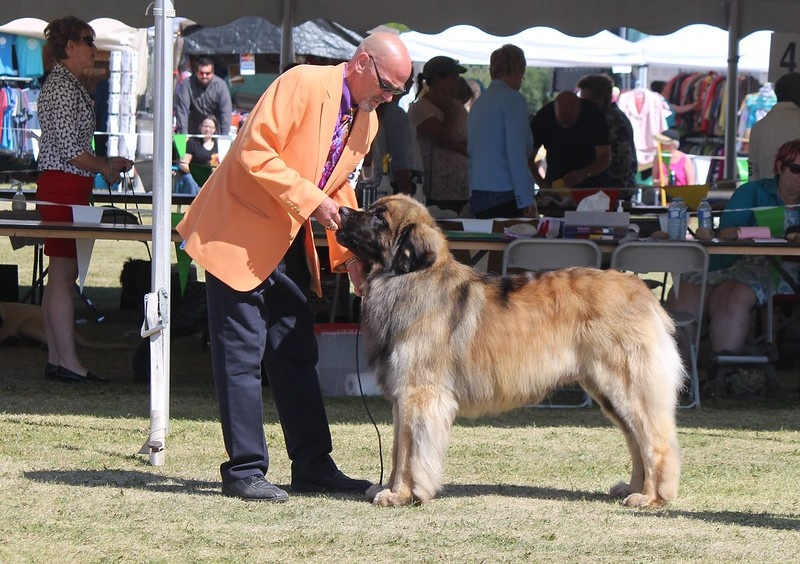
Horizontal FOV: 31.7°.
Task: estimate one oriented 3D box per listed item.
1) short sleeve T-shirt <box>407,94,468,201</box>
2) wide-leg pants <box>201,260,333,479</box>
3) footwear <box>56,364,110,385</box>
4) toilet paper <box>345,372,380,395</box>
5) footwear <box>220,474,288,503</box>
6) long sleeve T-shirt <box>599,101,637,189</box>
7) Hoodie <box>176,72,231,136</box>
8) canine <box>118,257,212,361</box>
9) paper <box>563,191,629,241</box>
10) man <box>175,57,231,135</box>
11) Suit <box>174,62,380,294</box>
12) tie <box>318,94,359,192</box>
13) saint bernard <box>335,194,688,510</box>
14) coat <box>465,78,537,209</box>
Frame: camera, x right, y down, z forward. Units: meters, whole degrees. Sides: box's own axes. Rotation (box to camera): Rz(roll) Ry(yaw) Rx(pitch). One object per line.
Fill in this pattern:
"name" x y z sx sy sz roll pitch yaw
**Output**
"short sleeve T-shirt" 0.366 -1.401 15.064 0.538 1.078 1.083 -3 15 5
"wide-leg pants" -0.995 0.450 10.513 0.856 2.009 0.544 1 -10 -36
"footwear" -2.944 0.834 13.007 0.451 0.144 0.171 2 -2 -13
"toilet paper" -0.343 0.875 12.488 0.360 0.254 0.252 -1 0 -5
"footwear" -1.076 1.488 10.292 0.405 0.171 0.201 3 -1 10
"long sleeve T-shirt" 2.581 -1.580 16.682 0.312 0.934 0.671 -11 -5 22
"Hoodie" -2.697 -2.367 19.158 0.606 0.854 0.514 1 13 -18
"canine" -2.460 0.236 15.019 1.057 1.270 0.935 -3 0 24
"paper" 1.760 -0.594 13.069 0.459 0.312 0.482 -1 7 -1
"man" -2.703 -2.359 19.099 0.639 1.234 0.604 4 -16 -21
"Suit" -0.784 -0.741 10.427 1.441 1.672 1.175 28 14 31
"tie" -0.370 -1.016 10.288 0.138 0.626 0.318 17 -6 -12
"saint bernard" 0.843 0.615 10.962 2.197 1.992 0.746 1 2 -2
"coat" 0.986 -1.382 14.072 0.768 1.217 0.375 5 12 18
